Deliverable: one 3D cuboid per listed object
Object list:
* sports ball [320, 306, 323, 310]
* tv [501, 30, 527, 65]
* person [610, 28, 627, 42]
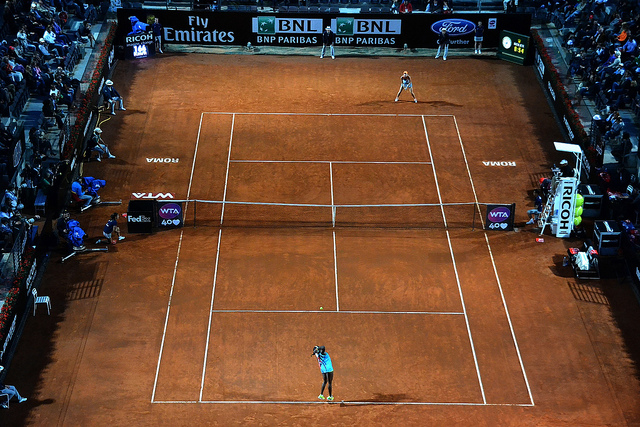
[{"bbox_3d":[0.076,4.423,21.605,0.116,0.113,0.126,0,91,15],"label":"sports ball"},{"bbox_3d":[17.503,-15.034,42.340,2.829,1.027,2.705,10,95,-4],"label":"tv"},{"bbox_3d":[24.001,-14.083,37.017,0.650,0.960,1.132,-4,52,-3],"label":"person"}]
